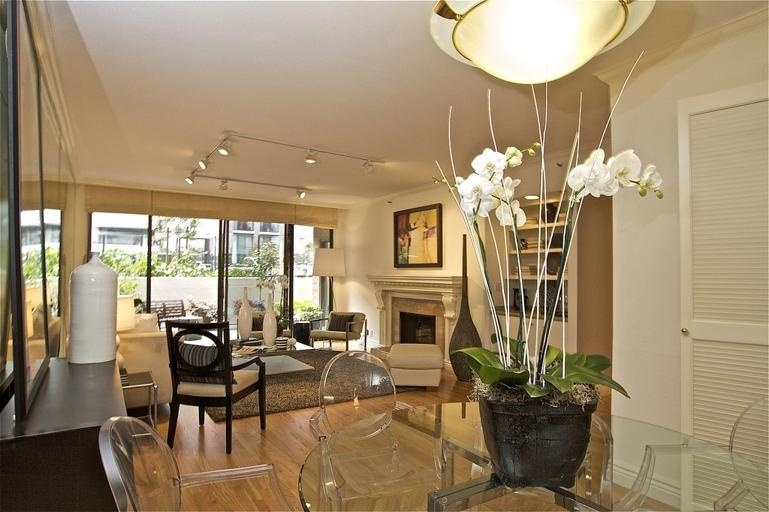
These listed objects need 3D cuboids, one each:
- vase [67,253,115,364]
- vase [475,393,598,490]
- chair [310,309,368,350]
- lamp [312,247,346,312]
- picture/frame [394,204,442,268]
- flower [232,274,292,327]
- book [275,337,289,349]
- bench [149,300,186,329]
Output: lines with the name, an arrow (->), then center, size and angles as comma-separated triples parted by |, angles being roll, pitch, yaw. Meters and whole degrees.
vase -> -1.553, 0.287, 2.761 | 0.248, 0.550, 0.255 | 1, 0, -17
vase -> 0.678, 0.826, 2.340 | 0.504, 0.374, 0.520 | -1, -6, 24
chair -> -0.746, 1.241, 8.328 | 0.808, 0.578, 0.501 | -2, -3, 36
lamp -> -1.011, 0.444, 9.560 | 0.544, 1.178, 0.714 | 1, 7, 3
picture/frame -> 0.474, -0.299, 7.892 | 1.031, 0.905, 0.054 | -9, 11, -43
flower -> -2.357, 0.772, 8.669 | 0.801, 0.759, 0.466 | 6, -20, -36
book -> -1.203, 1.032, 6.058 | 0.106, 0.100, 0.107 | -2, -3, 30
bench -> -3.063, 0.822, 7.210 | 0.527, 0.398, 0.218 | 2, -4, -33
